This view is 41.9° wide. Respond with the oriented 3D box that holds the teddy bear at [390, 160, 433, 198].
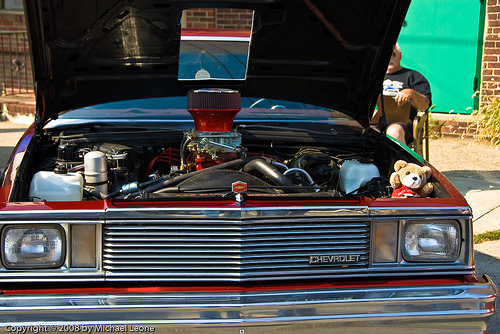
[{"bbox_3d":[1.203,0.086,5.026,0.329,0.272,0.354,1,13,5],"label":"teddy bear"}]
